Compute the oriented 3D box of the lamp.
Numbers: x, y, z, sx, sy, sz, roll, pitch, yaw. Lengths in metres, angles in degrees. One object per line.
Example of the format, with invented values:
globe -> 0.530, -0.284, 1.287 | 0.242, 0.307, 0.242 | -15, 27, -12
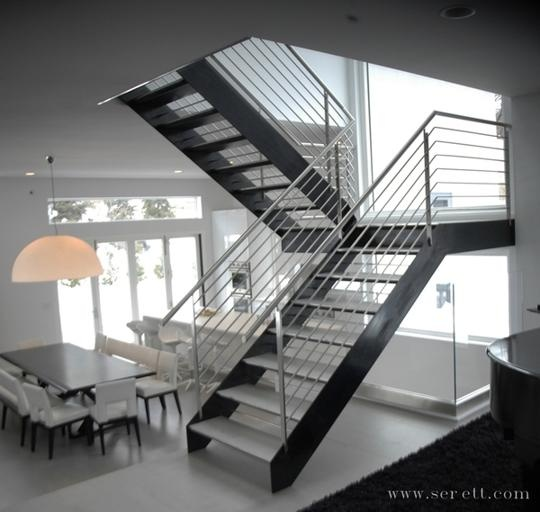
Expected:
lamp -> -1.978, -0.371, 4.357 | 0.825, 1.104, 0.839 | 0, 4, 34
